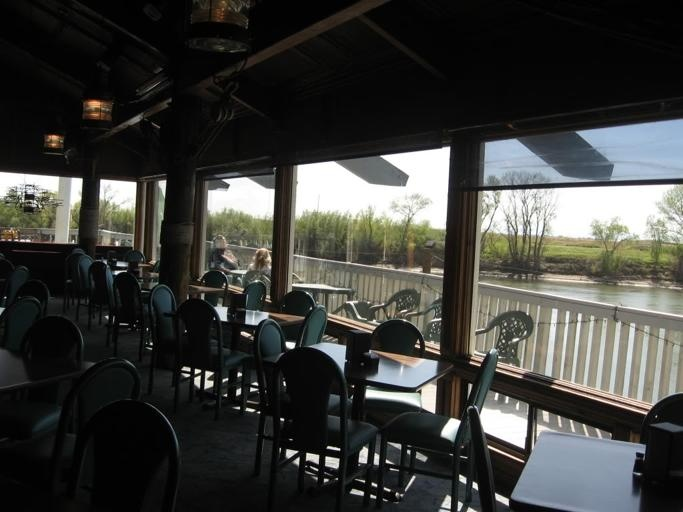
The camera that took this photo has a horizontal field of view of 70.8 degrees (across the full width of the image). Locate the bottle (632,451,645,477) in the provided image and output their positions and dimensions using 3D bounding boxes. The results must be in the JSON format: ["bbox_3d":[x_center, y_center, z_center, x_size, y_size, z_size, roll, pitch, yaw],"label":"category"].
[{"bbox_3d":[1.438,0.983,2.323,0.039,0.135,0.175,6,2,31],"label":"bottle"}]

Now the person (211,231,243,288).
[{"bbox_3d":[-1.889,0.127,7.997,0.258,0.868,0.255,0,14,43],"label":"person"}]

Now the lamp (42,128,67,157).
[{"bbox_3d":[-4.917,-1.977,8.229,0.287,0.395,0.337,4,2,-40],"label":"lamp"}]
